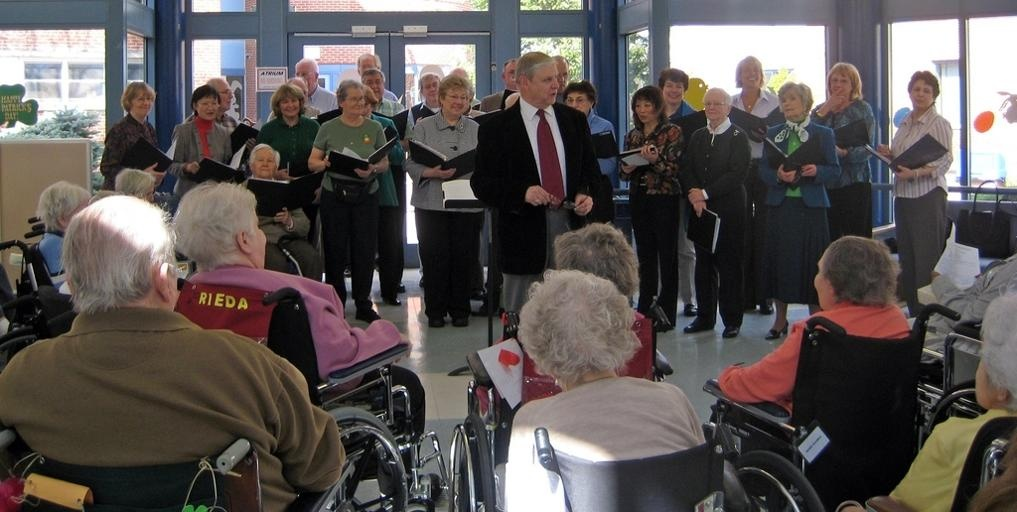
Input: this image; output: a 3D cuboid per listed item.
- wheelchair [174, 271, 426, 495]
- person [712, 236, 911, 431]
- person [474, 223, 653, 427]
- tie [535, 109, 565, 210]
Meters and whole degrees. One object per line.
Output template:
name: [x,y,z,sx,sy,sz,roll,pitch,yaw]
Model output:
wheelchair: [-1.563,0.643,4.532,1.027,1.263,1.438,2,-17,41]
person: [2.058,0.525,5.114,1.312,0.923,0.684,-10,18,-24]
person: [0.249,0.245,4.635,1.052,1.324,1.263,-8,20,-21]
tie: [0.359,-0.801,6.028,0.190,0.792,0.184,-4,7,-37]
